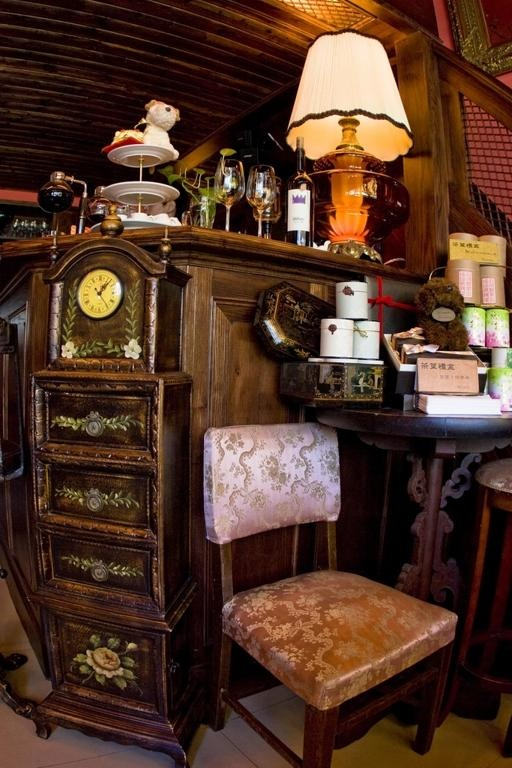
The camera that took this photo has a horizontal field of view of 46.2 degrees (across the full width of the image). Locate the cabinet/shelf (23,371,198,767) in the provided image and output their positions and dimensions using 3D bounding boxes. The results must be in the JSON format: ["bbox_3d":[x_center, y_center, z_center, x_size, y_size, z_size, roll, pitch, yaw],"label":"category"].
[{"bbox_3d":[-0.341,0.449,1.547,0.442,0.968,0.340,0,6,-20],"label":"cabinet/shelf"}]

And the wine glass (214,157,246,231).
[{"bbox_3d":[-0.083,-0.575,1.832,0.087,0.222,0.133,1,6,-3],"label":"wine glass"}]

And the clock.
[{"bbox_3d":[-0.366,-0.233,1.584,0.364,0.392,0.238,3,6,15],"label":"clock"}]

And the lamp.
[{"bbox_3d":[0.320,-0.837,2.172,0.474,0.805,0.512,3,6,12],"label":"lamp"}]
